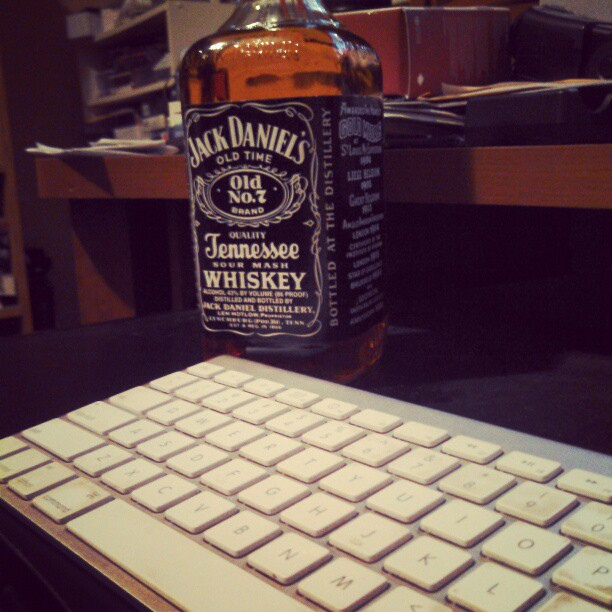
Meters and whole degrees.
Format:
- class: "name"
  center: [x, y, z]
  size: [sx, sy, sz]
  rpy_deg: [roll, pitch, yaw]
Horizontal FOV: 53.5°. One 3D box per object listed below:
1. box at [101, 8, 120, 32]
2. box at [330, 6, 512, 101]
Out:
- class: "box"
  center: [-0.930, -1.351, 2.873]
  size: [0.096, 0.119, 0.116]
  rpy_deg: [-9, 14, -16]
- class: "box"
  center: [0.141, -0.256, 0.618]
  size: [0.113, 0.084, 0.162]
  rpy_deg: [-6, 10, -33]
